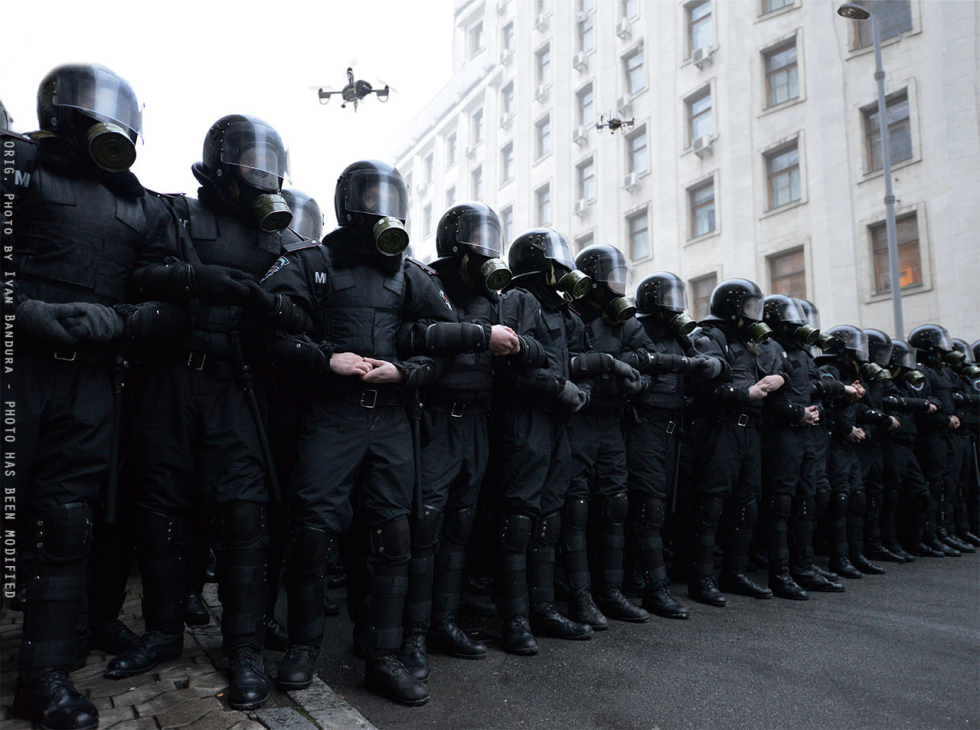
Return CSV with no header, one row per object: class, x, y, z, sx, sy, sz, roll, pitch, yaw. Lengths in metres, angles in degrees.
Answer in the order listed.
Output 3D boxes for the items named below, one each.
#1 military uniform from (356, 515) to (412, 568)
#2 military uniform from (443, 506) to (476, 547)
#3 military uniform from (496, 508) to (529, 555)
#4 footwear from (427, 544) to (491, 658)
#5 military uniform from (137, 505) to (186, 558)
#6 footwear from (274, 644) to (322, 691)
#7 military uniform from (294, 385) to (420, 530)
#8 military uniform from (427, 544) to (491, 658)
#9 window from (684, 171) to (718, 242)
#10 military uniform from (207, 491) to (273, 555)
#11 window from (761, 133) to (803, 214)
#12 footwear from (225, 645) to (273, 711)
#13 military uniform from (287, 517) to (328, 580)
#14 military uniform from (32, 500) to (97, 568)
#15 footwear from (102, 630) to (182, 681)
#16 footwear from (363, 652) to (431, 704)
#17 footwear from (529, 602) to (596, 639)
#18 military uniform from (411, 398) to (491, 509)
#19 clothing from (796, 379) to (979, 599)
military uniform,-0.690,1.175,7.019,0.334,0.266,0.283,-7,-8,41
military uniform,-0.223,1.148,7.610,0.273,0.276,0.216,-1,-8,45
military uniform,0.185,1.229,7.799,0.227,0.281,0.277,6,-20,-11
footwear,-0.207,1.660,7.626,0.616,0.778,0.275,-2,-8,44
military uniform,-2.113,1.088,7.056,0.348,0.331,0.262,0,13,-31
footwear,-1.240,1.930,6.850,0.269,0.266,0.192,-2,-9,-13
military uniform,-0.870,0.647,7.175,0.811,0.941,0.405,4,-7,-23
military uniform,-0.284,1.673,7.678,0.604,0.769,0.262,13,-14,-22
window,4.743,-3.522,23.991,0.229,1.883,1.379,9,-14,-22
military uniform,-1.611,1.037,6.933,0.365,0.328,0.214,-2,-9,-16
window,6.012,-3.903,21.975,0.133,1.664,1.416,11,-20,-23
footwear,-1.510,1.943,6.671,0.261,0.345,0.333,-2,-9,-14
military uniform,-1.163,1.212,6.891,0.281,0.369,0.199,-2,-9,-13
military uniform,-2.650,1.013,6.655,0.464,0.351,0.369,-15,-7,28
footwear,-2.220,1.872,6.927,0.172,0.238,0.535,7,3,42
footwear,-0.617,2.019,6.879,0.471,0.305,0.160,-9,-10,30
footwear,0.504,1.908,8.006,0.515,0.232,0.177,-1,0,23
military uniform,-0.253,0.698,7.694,0.542,0.733,0.428,-1,6,-32
clothing,4.028,1.283,11.034,0.995,2.640,1.023,25,-30,-34
